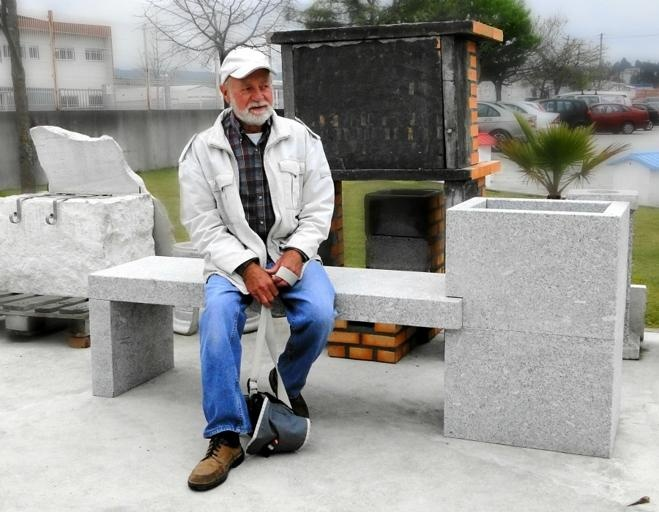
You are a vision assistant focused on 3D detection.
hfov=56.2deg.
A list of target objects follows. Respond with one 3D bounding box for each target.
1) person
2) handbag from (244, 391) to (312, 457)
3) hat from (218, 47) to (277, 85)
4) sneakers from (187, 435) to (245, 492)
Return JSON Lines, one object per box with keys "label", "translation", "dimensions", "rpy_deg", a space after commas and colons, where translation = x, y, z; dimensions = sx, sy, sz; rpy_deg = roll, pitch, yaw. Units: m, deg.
{"label": "person", "translation": [-0.331, 0.095, 3.253], "dimensions": [0.847, 1.707, 0.979], "rpy_deg": [-4, 12, -14]}
{"label": "handbag", "translation": [-0.263, 0.840, 3.119], "dimensions": [0.302, 0.319, 0.132], "rpy_deg": [14, 9, -1]}
{"label": "hat", "translation": [-0.457, -1.038, 3.340], "dimensions": [0.292, 0.197, 0.229], "rpy_deg": [-3, 12, -9]}
{"label": "sneakers", "translation": [-0.548, 0.963, 2.968], "dimensions": [0.132, 0.199, 0.397], "rpy_deg": [0, 5, 19]}
